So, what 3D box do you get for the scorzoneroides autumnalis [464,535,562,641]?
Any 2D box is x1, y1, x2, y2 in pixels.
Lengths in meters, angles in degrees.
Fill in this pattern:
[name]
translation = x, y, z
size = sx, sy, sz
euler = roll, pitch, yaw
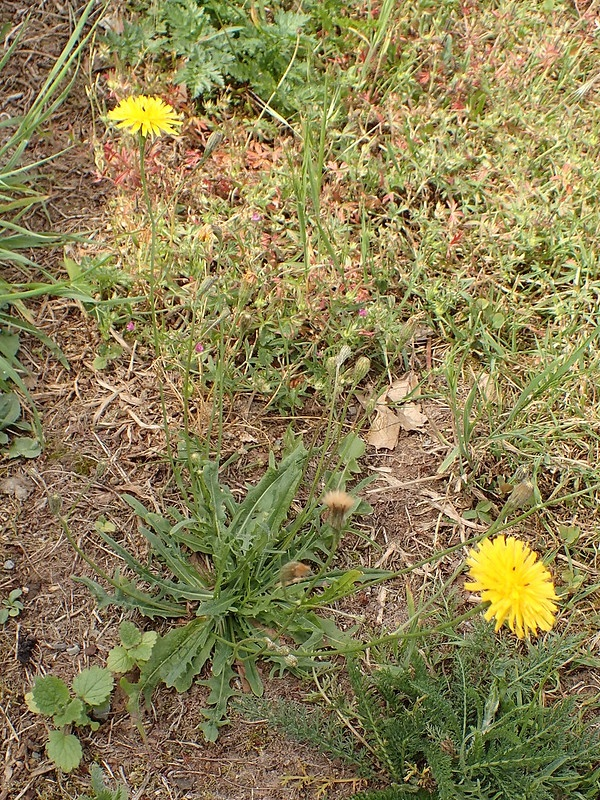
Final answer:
[scorzoneroides autumnalis]
translation = 0.389, 0.326, 1.293
size = 0.168, 0.051, 0.177
euler = 6, 8, -46
